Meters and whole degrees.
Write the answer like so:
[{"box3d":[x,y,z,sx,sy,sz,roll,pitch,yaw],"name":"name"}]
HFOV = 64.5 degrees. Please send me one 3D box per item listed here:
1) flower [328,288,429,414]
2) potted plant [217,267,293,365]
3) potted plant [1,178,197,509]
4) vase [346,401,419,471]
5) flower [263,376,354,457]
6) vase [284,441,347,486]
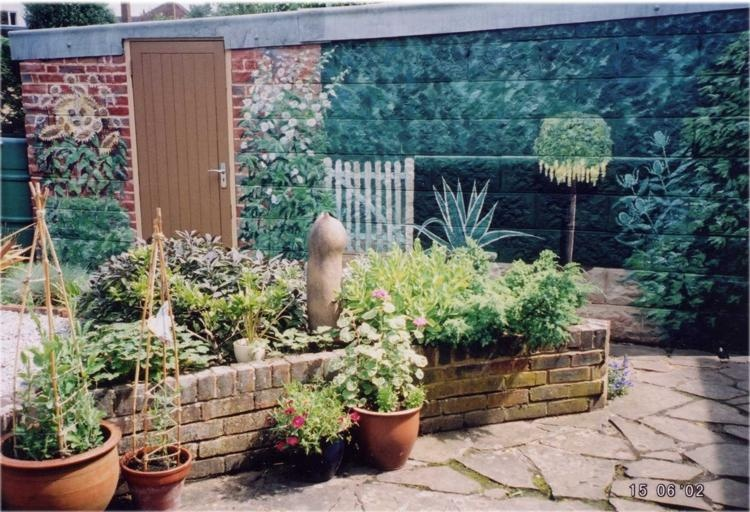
[{"box3d":[0.010,0.678,4.932,0.665,0.708,0.539,4,6,-25],"name":"flower"},{"box3d":[-1.023,0.508,5.152,0.457,0.717,0.605,5,11,27],"name":"potted plant"},{"box3d":[-2.470,0.579,4.864,1.109,2.373,2.400,-6,11,-29],"name":"potted plant"},{"box3d":[0.091,1.505,4.981,0.662,0.470,0.630,6,-10,-31],"name":"vase"},{"box3d":[-0.564,1.308,4.767,0.651,0.474,0.646,1,5,37],"name":"flower"},{"box3d":[-0.436,1.606,4.599,0.382,0.270,0.372,0,-10,-2],"name":"vase"}]
